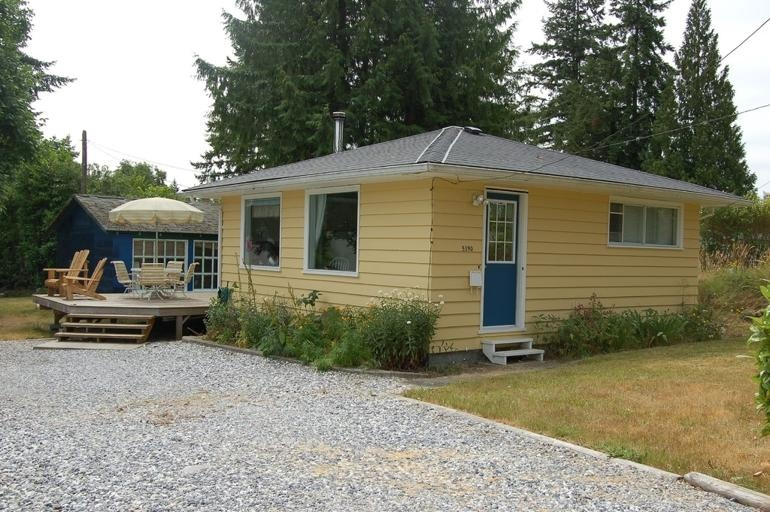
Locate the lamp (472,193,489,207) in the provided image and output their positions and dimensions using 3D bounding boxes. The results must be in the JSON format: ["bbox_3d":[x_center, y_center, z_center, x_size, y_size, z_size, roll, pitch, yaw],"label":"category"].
[{"bbox_3d":[2.085,-1.215,14.839,0.477,0.269,0.137,-13,18,-43],"label":"lamp"}]
